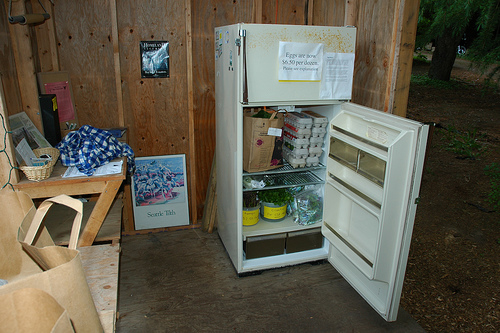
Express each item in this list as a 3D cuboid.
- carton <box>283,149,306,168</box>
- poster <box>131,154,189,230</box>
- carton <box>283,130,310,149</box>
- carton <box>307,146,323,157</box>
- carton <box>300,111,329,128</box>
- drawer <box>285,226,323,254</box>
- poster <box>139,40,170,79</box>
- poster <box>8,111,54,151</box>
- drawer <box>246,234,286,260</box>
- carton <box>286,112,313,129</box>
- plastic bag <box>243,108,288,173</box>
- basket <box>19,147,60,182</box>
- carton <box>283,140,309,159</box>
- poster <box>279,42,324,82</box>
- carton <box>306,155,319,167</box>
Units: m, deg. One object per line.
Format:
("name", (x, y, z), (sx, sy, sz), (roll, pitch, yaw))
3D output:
("carton", (0.498, -0.086, 3.880), (0.125, 0.099, 0.272), (-3, 16, -17))
("poster", (-1.195, 0.299, 4.489), (0.905, 1.235, 0.055), (-3, 9, -14))
("carton", (0.513, -0.301, 3.803), (0.139, 0.104, 0.275), (-4, 17, -25))
("carton", (0.717, -0.168, 3.785), (0.155, 0.109, 0.106), (-5, 11, -21))
("carton", (0.708, -0.533, 3.831), (0.146, 0.078, 0.263), (-5, 20, -21))
("drawer", (0.629, 0.854, 3.973), (0.332, 0.211, 0.338), (-4, 12, -8))
("poster", (-1.159, -1.315, 4.153), (0.424, 0.516, 0.054), (-1, 15, -8))
("poster", (-2.086, -0.346, 3.272), (0.027, 0.359, 0.313), (-29, 36, 4))
("drawer", (0.175, 0.906, 3.886), (0.318, 0.202, 0.326), (-4, 10, -18))
("carton", (0.559, -0.496, 3.720), (0.156, 0.096, 0.317), (-4, 18, -20))
("plastic bag", (0.157, -0.269, 3.689), (0.589, 0.773, 0.310), (-4, 29, -16))
("basket", (-1.926, -0.026, 3.184), (0.282, 0.167, 0.472), (-9, 26, -18))
("carton", (0.514, -0.192, 3.850), (0.142, 0.104, 0.281), (-3, 16, -20))
("poster", (0.484, -1.045, 3.381), (0.376, 0.308, 0.019), (-2, 14, -11))
("carton", (0.691, -0.061, 3.832), (0.159, 0.123, 0.101), (-4, 15, -15))
